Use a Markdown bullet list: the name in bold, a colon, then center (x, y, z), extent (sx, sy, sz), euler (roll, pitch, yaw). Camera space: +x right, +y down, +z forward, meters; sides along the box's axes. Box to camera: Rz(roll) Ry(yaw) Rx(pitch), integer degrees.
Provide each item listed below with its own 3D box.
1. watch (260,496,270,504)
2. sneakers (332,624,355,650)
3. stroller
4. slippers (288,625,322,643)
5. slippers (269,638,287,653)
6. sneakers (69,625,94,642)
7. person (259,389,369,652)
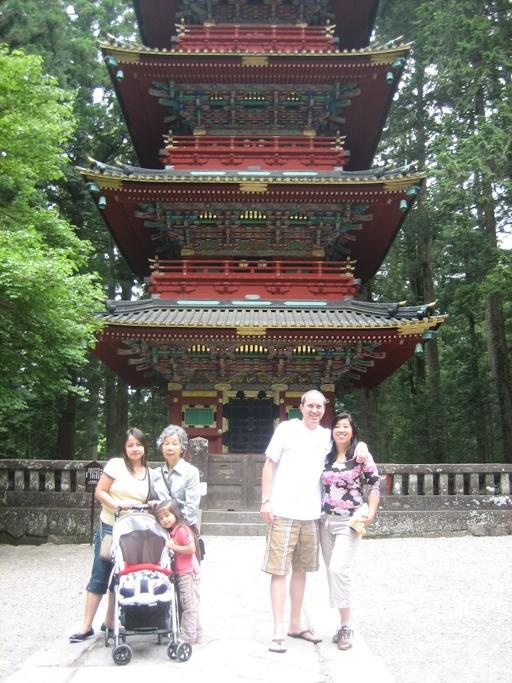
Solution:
- **watch**: center (0.086, 1.326, 6.492), extent (0.067, 0.050, 0.103), euler (0, -4, 4)
- **sneakers**: center (0.737, 2.477, 6.487), extent (0.177, 0.127, 0.361), euler (0, -14, 1)
- **stroller**: center (-0.830, 1.918, 6.287), extent (0.685, 1.219, 0.499), euler (1, -4, -7)
- **slippers**: center (0.417, 2.467, 6.537), extent (0.195, 0.066, 0.099), euler (2, -2, 12)
- **slippers**: center (0.181, 2.460, 6.327), extent (0.144, 0.116, 0.208), euler (0, -4, 1)
- **sneakers**: center (-1.449, 2.481, 6.544), extent (0.207, 0.075, 0.075), euler (8, -25, -42)
- **person**: center (0.314, 1.596, 6.554), extent (0.617, 1.864, 0.326), euler (4, -5, -36)
